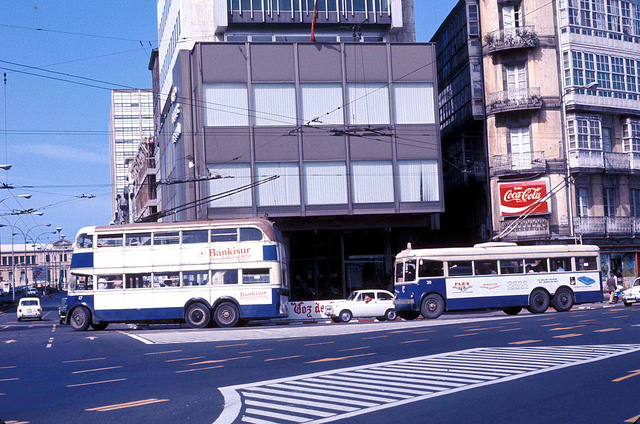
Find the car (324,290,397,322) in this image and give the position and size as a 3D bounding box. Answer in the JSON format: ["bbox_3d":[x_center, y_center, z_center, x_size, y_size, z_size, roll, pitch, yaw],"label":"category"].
[{"bbox_3d":[2.474,5.769,48.983,3.195,1.539,2.049,2,-8,-5],"label":"car"}]

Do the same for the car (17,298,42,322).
[{"bbox_3d":[-24.636,8.466,69.039,1.421,1.263,2.598,0,2,-16],"label":"car"}]
